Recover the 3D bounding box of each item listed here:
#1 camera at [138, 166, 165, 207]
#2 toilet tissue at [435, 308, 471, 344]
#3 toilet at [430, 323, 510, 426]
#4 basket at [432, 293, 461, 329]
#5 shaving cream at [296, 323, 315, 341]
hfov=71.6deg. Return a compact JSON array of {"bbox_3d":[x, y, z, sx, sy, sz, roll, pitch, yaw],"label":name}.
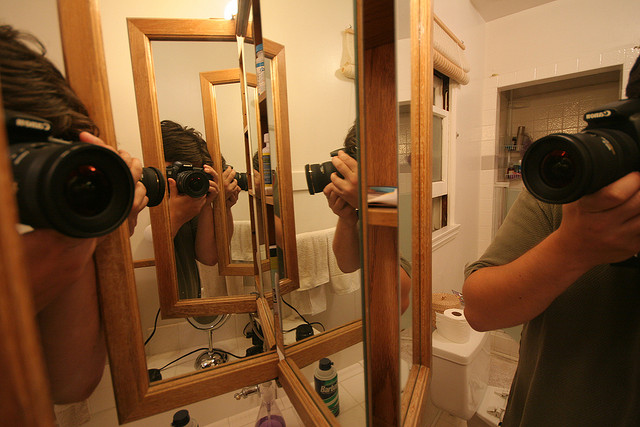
[{"bbox_3d":[-0.424,-0.066,1.125,0.058,0.102,0.024,-7,9,-25],"label":"camera"},{"bbox_3d":[0.482,0.398,1.614,0.098,0.098,0.133,-21,22,-36],"label":"toilet tissue"},{"bbox_3d":[0.481,0.530,1.432,0.262,0.313,0.357,0,8,26],"label":"toilet"},{"bbox_3d":[0.430,0.346,1.592,0.105,0.112,0.111,-1,-2,-7],"label":"basket"},{"bbox_3d":[-0.040,0.313,1.175,0.041,0.040,0.042,-4,16,-8],"label":"shaving cream"}]
